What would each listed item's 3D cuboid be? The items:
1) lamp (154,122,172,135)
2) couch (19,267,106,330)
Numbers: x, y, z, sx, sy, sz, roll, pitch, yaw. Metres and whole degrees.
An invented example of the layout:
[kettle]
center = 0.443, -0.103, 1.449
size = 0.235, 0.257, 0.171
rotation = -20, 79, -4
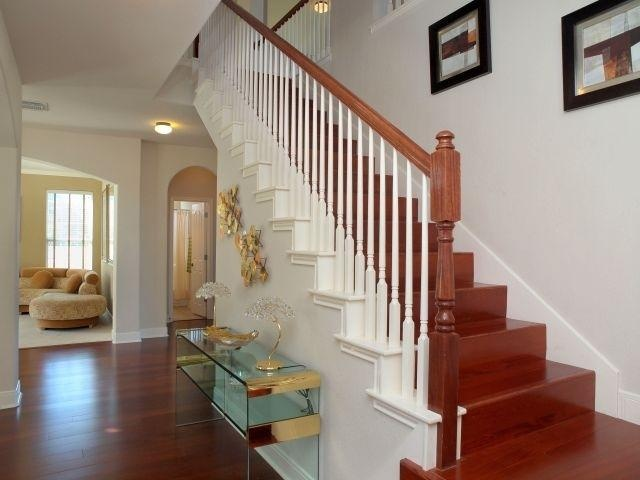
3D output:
[lamp]
center = -2.317, -1.663, 7.120
size = 0.207, 0.145, 0.320
rotation = 0, 4, -12
[couch]
center = -5.006, 1.108, 9.329
size = 1.606, 0.662, 1.245
rotation = 3, -2, 29
